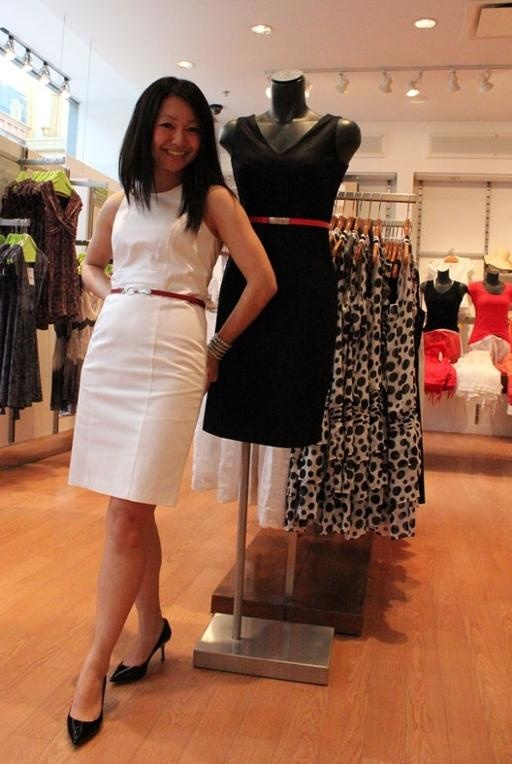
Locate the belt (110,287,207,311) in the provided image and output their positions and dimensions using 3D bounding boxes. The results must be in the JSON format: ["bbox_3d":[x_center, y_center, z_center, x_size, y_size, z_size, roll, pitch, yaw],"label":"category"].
[{"bbox_3d":[-0.191,-0.171,1.117,0.198,0.029,0.140,4,-2,-16],"label":"belt"}]

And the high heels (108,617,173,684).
[{"bbox_3d":[-0.274,0.657,1.339,0.181,0.128,0.066,0,-13,-45],"label":"high heels"}]

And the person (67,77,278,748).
[{"bbox_3d":[-0.184,0.056,1.189,0.397,0.979,0.362,4,-2,-19],"label":"person"}]

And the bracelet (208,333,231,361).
[{"bbox_3d":[-0.071,-0.068,1.185,0.050,0.052,0.048,-11,-39,17],"label":"bracelet"}]
